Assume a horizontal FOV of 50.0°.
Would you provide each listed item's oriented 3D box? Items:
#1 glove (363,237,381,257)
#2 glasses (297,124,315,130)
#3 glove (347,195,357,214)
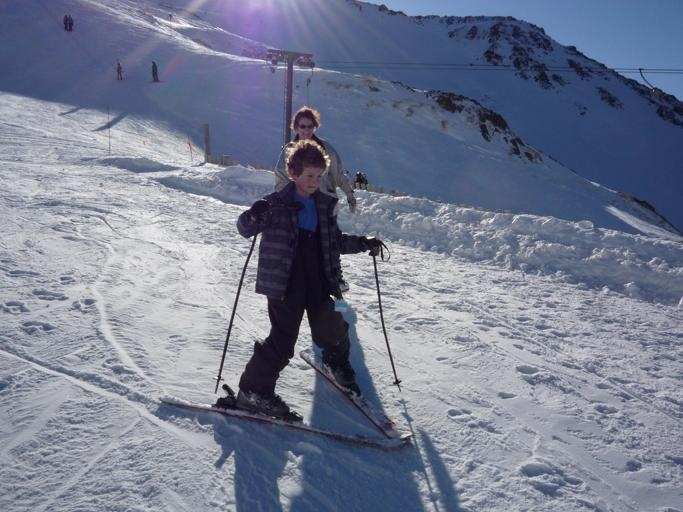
[{"bbox_3d":[0.692,-0.227,16.246,0.441,0.344,0.339,-21,25,-24],"label":"glove"},{"bbox_3d":[-0.810,-2.983,16.866,0.350,0.132,0.078,7,20,-18],"label":"glasses"},{"bbox_3d":[0.230,-1.262,17.529,0.162,0.394,0.166,-7,6,-7],"label":"glove"}]
